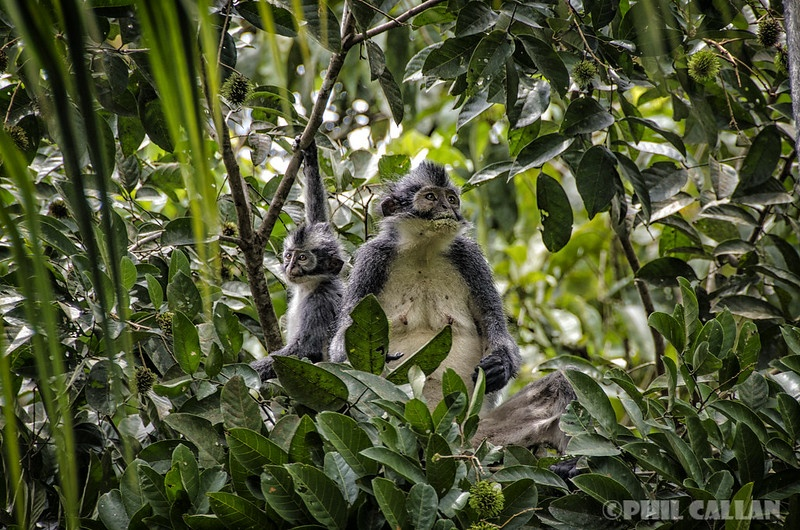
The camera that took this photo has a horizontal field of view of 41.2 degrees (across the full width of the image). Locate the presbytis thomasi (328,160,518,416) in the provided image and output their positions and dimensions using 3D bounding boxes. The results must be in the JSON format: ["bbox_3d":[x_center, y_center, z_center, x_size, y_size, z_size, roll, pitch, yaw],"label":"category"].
[{"bbox_3d":[0.144,0.234,6.507,1.135,1.811,1.012,2,-27,-9],"label":"presbytis thomasi"}]
